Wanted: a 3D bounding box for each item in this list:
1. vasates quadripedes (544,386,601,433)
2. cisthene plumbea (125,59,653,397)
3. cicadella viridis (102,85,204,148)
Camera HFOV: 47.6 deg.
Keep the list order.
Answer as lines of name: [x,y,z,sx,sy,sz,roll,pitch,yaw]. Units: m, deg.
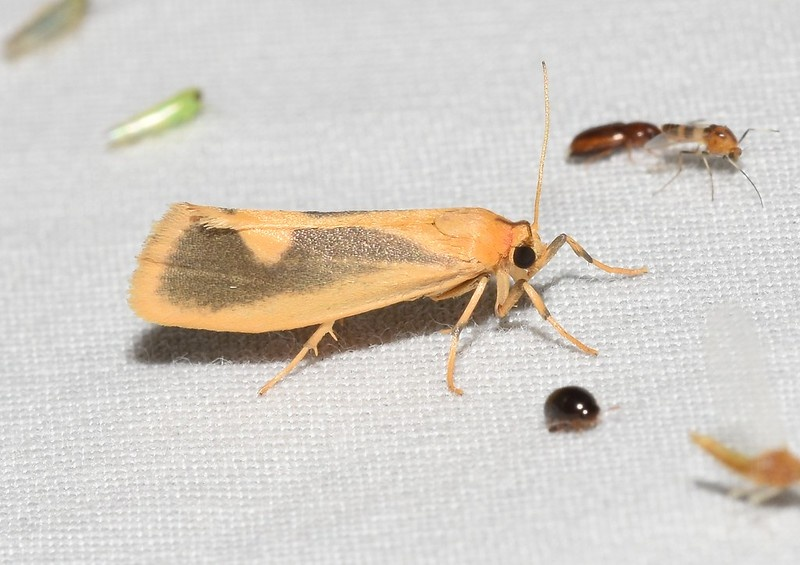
vasates quadripedes: [0.820,0.609,4.332,0.273,0.092,0.209,-5,76,4]
cisthene plumbea: [-0.300,-0.053,4.451,1.959,0.357,0.634,0,77,5]
cicadella viridis: [-1.397,-0.923,5.165,0.714,0.298,0.326,-9,32,-15]
